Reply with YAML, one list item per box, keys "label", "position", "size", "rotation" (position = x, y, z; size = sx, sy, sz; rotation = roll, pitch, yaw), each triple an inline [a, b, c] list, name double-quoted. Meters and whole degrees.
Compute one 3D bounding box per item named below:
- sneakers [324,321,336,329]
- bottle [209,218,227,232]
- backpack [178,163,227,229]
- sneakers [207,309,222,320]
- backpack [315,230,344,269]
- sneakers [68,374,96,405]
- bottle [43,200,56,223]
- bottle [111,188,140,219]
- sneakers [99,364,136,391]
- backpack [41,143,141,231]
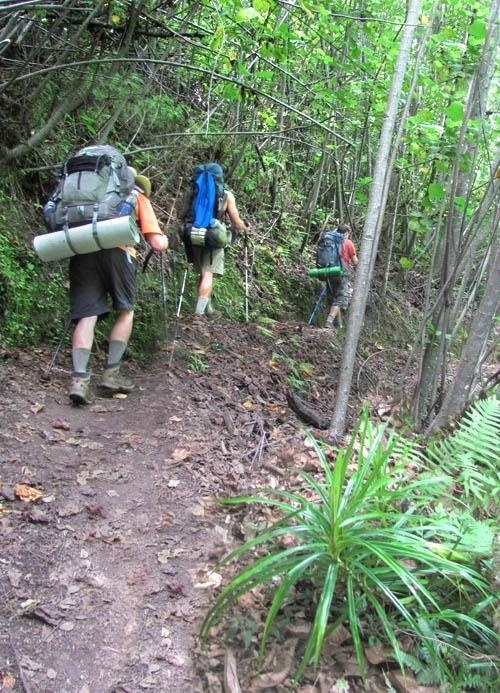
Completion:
- label: "sneakers"
  position: [1.061, -0.291, 7.972]
  size: [0.115, 0.102, 0.115]
  rotation: [5, -1, -42]
- label: "bottle"
  position: [-0.294, -1.172, 5.741]
  size: [0.113, 0.094, 0.255]
  rotation: [16, 20, 12]
- label: "backpack"
  position: [-0.441, -1.434, 5.739]
  size: [0.408, 0.619, 0.238]
  rotation: [2, -9, 24]
- label: "sneakers"
  position: [-0.392, -0.347, 6.242]
  size: [0.059, 0.118, 0.173]
  rotation: [9, 30, 26]
- label: "backpack"
  position: [1.122, -1.312, 8.361]
  size: [0.374, 0.500, 0.511]
  rotation: [13, 20, 3]
- label: "sneakers"
  position: [-1.144, 0.304, 3.985]
  size: [0.099, 0.193, 0.278]
  rotation: [3, -22, -2]
- label: "bottle"
  position: [-1.314, -0.895, 3.929]
  size: [0.092, 0.164, 0.073]
  rotation: [-2, -13, -5]
- label: "bottle"
  position: [-0.818, -0.929, 3.918]
  size: [0.066, 0.194, 0.211]
  rotation: [16, -9, 29]
- label: "sneakers"
  position: [-0.921, 0.234, 4.278]
  size: [0.107, 0.191, 0.285]
  rotation: [6, 7, 34]
- label: "backpack"
  position: [-1.048, -1.027, 3.986]
  size: [0.544, 0.619, 0.363]
  rotation: [-6, -18, 10]
